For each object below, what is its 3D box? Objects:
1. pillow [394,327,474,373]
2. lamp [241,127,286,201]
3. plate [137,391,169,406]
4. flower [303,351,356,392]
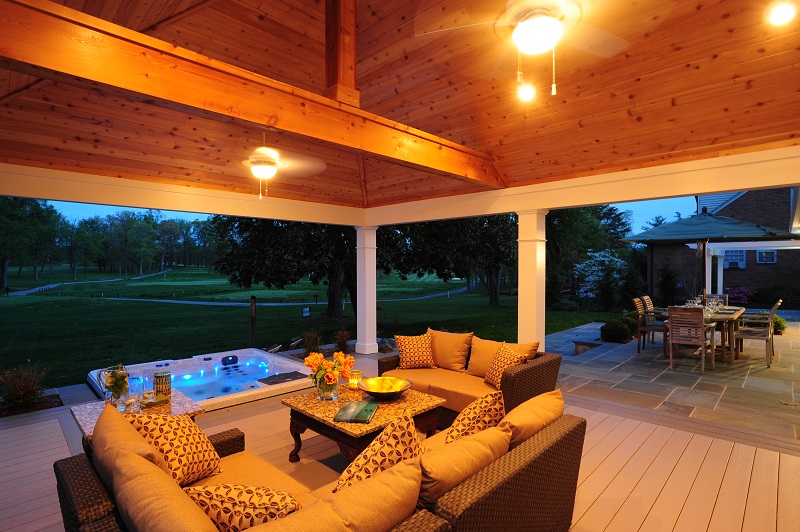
[{"bbox_3d":[0.462,1.135,6.324,1.180,0.492,0.750,5,-1,39],"label":"pillow"},{"bbox_3d":[-1.767,-1.392,5.916,0.857,0.891,0.767,5,1,-16],"label":"lamp"},{"bbox_3d":[-2.645,1.378,4.812,0.216,0.056,0.176,0,-1,28],"label":"plate"},{"bbox_3d":[-0.883,1.158,5.306,0.798,0.398,0.700,-1,1,-26],"label":"flower"}]
